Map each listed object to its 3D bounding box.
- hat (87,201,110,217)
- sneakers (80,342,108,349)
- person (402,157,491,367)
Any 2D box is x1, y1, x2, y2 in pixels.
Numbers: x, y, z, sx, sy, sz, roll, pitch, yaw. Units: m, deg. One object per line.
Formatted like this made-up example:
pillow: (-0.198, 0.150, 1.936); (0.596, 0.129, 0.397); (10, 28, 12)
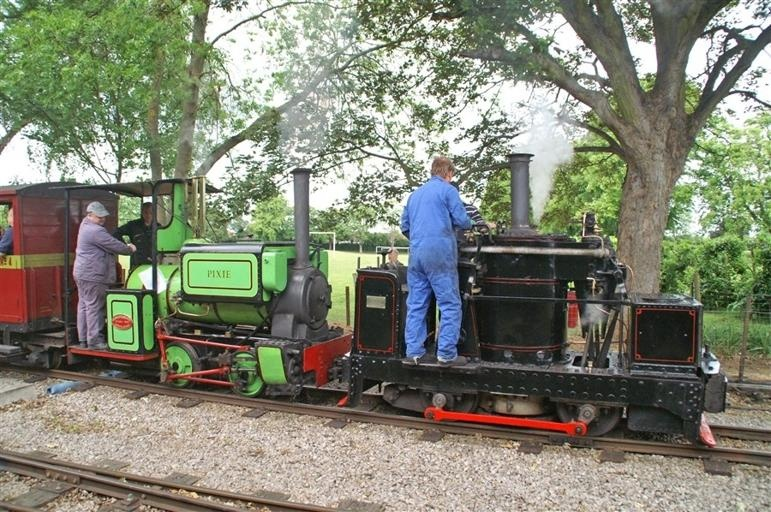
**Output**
hat: (-5.027, -0.801, 10.340); (0.417, 0.239, 0.267); (12, 17, 3)
sneakers: (-4.944, 1.549, 10.187); (0.434, 0.182, 0.140); (0, 3, -2)
person: (0.706, 0.046, 8.309); (0.896, 2.951, 0.467); (2, -1, 1)
